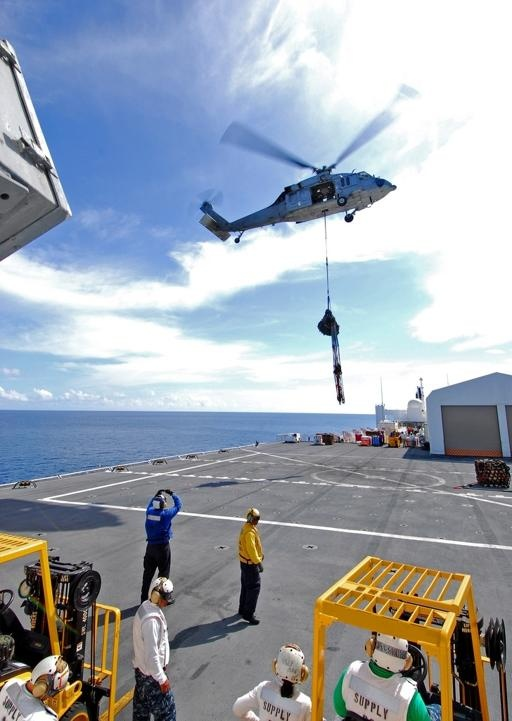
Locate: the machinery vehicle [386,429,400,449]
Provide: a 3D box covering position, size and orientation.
[{"bbox_3d":[11.570,6.661,32.844,1.020,1.307,1.322,-3,-7,38],"label":"machinery vehicle"}]

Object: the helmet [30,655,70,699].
[{"bbox_3d":[-1.374,2.094,2.559,0.227,0.282,0.162,-2,-6,-34],"label":"helmet"}]

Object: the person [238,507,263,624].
[{"bbox_3d":[-0.112,3.042,5.828,0.433,1.563,0.527,-4,-5,-5],"label":"person"}]
